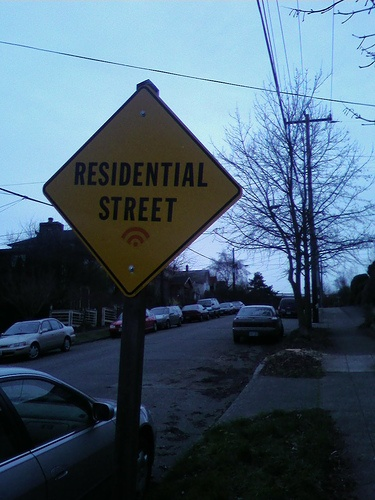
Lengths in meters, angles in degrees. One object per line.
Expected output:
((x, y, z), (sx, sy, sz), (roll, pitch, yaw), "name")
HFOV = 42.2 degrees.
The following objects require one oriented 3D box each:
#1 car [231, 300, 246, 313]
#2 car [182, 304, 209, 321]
((4.881, 5.297, 46.849), (1.298, 1.177, 3.066), (-3, -13, 3), "car")
((0.472, 4.188, 32.512), (1.353, 1.125, 2.278), (-5, -4, 10), "car")
